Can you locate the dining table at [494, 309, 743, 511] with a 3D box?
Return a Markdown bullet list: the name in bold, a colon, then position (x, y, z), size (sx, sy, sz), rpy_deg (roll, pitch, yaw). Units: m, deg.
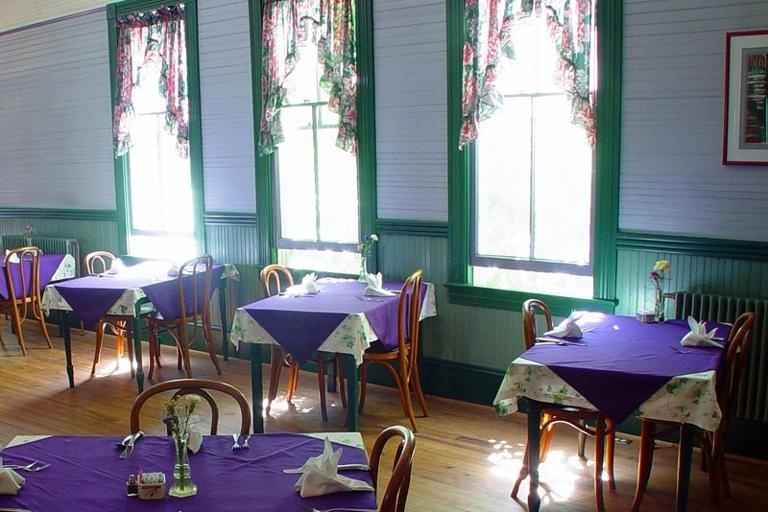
- **dining table**: position (1.488, 0.563, 3.528), size (1.088, 0.857, 1.652), rpy_deg (2, 5, 22)
